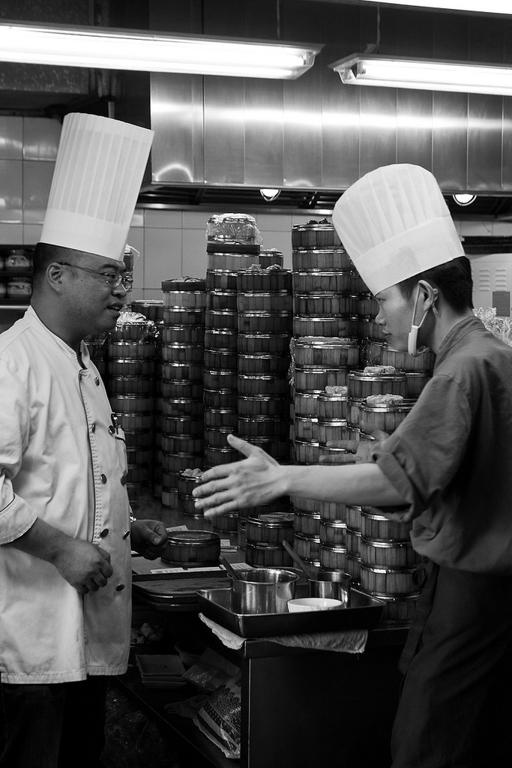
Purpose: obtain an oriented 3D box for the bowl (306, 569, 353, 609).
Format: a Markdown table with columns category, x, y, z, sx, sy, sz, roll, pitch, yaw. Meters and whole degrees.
| category | x | y | z | sx | sy | sz | roll | pitch | yaw |
| --- | --- | --- | --- | --- | --- | --- | --- | --- | --- |
| bowl | 0.178 | 0.502 | 2.186 | 0.088 | 0.069 | 0.057 | 1 | -1 | 26 |
